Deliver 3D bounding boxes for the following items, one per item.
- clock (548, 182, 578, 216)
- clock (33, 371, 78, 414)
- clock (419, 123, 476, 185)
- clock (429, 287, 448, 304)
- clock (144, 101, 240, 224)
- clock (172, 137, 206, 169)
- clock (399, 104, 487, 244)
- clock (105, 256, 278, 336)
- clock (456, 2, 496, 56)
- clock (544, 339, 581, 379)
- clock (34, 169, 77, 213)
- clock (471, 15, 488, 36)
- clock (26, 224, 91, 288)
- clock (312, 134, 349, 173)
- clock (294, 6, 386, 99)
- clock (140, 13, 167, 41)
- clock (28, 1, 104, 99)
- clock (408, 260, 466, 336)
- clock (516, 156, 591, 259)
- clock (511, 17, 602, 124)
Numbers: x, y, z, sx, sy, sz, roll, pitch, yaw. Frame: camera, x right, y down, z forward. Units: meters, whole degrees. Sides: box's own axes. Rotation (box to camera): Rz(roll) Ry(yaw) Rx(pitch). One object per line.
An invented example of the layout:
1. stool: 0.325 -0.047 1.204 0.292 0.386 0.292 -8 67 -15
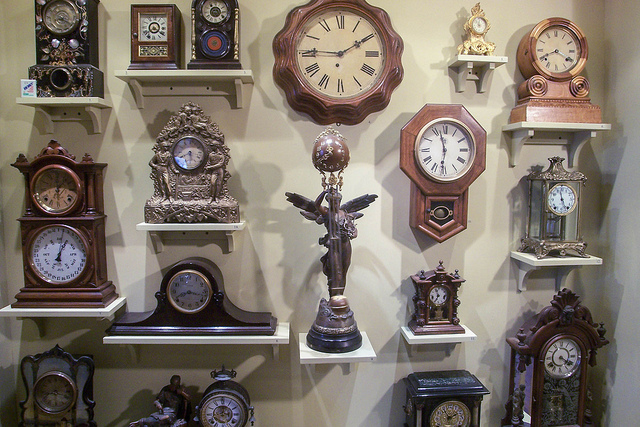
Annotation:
1. clock: 1.598 -0.101 4.209 0.185 0.216 0.205 -15 8 7
2. clock: -1.704 1.157 4.104 0.261 0.271 0.272 -17 -5 -9
3. clock: 0.833 -0.401 4.109 0.352 0.398 0.052 -1 3 -3
4. clock: 0.788 0.541 4.122 0.118 0.107 0.027 1 -6 -15
5. clock: -0.816 -0.325 4.049 0.584 0.774 0.189 2 -6 -18
6. clock: -0.835 -0.390 4.049 0.240 0.215 0.256 -3 -10 0
7. clock: 0.817 -0.266 4.111 0.547 0.883 0.227 -2 -5 12
8. clock: -0.827 0.537 4.135 1.077 0.515 0.255 -1 -6 3
9. clock: 1.033 -1.206 4.138 0.231 0.350 0.134 -1 -5 5
10. clock: 1.586 0.946 4.105 0.211 0.237 0.031 -7 1 -6
11. clock: -1.689 -0.159 4.009 0.238 0.269 0.042 2 4 3
12. clock: 1.046 -1.237 4.105 0.110 0.123 0.016 -8 4 -7
13. clock: -1.684 0.257 4.027 0.351 0.396 0.055 3 0 1
14. clock: 0.066 -0.355 3.908 0.182 0.238 0.107 2 -5 1
15. clock: 0.123 -1.077 4.108 0.539 0.595 0.080 0 1 1
16. clock: -1.073 -1.203 4.032 0.159 0.190 0.023 0 -6 0
17. clock: -1.618 -1.076 4.042 0.453 0.647 0.192 2 -6 -25
18. clock: 0.786 0.557 4.174 0.336 0.463 0.273 -1 4 -7
19. clock: 1.575 -0.042 4.222 0.409 0.662 0.406 1 4 3
20. clock: 1.576 -0.927 4.208 0.498 0.763 0.254 1 -8 -5
